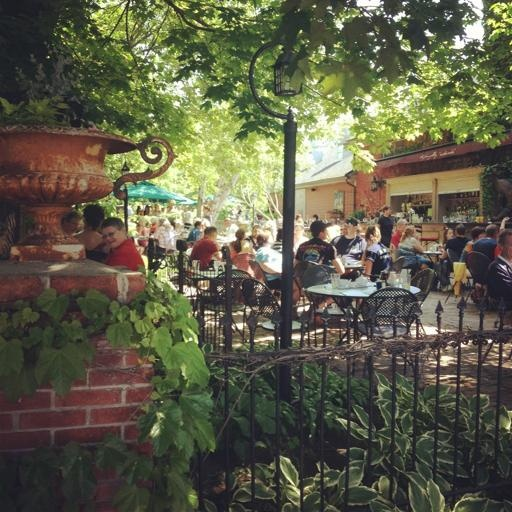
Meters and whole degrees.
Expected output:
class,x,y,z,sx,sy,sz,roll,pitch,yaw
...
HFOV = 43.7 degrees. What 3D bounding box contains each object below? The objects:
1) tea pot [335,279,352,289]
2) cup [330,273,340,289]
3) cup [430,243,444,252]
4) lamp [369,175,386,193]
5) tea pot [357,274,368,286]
class,x,y,z,sx,sy,sz,roll,pitch,yaw
tea pot,0.952,0.302,6.904,0.097,0.061,0.150,-2,-10,19
cup,0.860,0.275,6.898,0.142,0.198,0.130,1,-4,0
cup,4.386,-0.180,15.429,0.307,0.212,0.319,-1,0,0
lamp,4.834,-2.923,25.667,0.587,0.820,0.583,5,-4,-24
tea pot,1.179,0.273,7.032,0.124,0.065,0.121,-2,4,0
